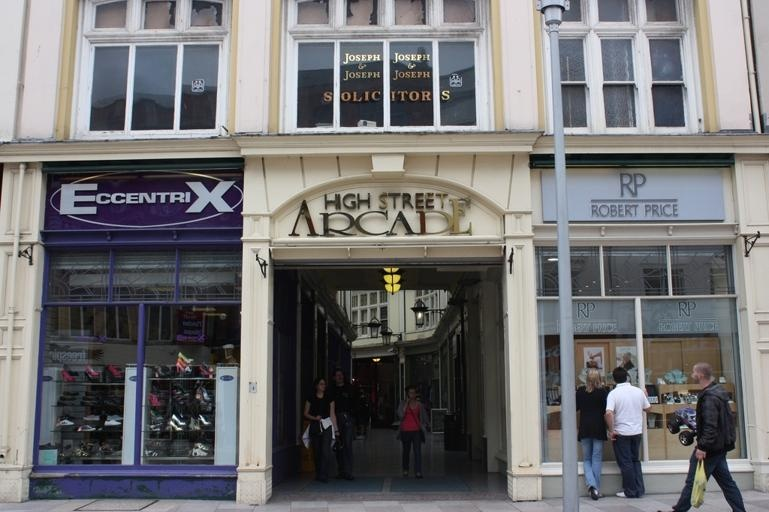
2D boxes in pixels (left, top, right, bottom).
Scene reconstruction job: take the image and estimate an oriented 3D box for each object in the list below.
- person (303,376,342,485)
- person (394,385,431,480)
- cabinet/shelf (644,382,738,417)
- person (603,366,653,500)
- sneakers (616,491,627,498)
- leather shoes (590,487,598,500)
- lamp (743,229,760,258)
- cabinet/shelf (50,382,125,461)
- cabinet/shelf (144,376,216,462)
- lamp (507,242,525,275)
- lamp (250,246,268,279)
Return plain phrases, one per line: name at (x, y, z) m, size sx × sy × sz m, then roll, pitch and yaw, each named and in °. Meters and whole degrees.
person at (-1.512, 4.045, 18.942) m, size 0.741 × 2.310 × 0.659 m, roll -6°, pitch -12°, yaw 23°
person at (0.686, 4.157, 19.318) m, size 0.671 × 2.107 × 0.653 m, roll -2°, pitch -11°, yaw 1°
cabinet/shelf at (6.658, 3.092, 17.323) m, size 1.498 × 0.653 × 0.361 m, roll -5°, pitch -5°, yaw 19°
person at (4.958, 3.626, 16.661) m, size 0.860 × 2.603 × 0.465 m, roll 4°, pitch -12°, yaw -25°
sneakers at (4.848, 4.896, 16.628) m, size 0.163 × 0.065 × 0.069 m, roll 0°, pitch -7°, yaw 16°
leather shoes at (4.251, 4.837, 16.500) m, size 0.090 × 0.087 × 0.244 m, roll 7°, pitch 31°, yaw -24°
lamp at (7.836, -0.252, 17.311) m, size 0.373 × 0.521 × 0.148 m, roll -5°, pitch -11°, yaw 20°
cabinet/shelf at (-6.274, 3.587, 17.252) m, size 1.655 × 1.443 × 0.533 m, roll -1°, pitch -6°, yaw 5°
cabinet/shelf at (-4.297, 3.528, 17.194) m, size 1.648 × 2.049 × 1.076 m, roll 0°, pitch -14°, yaw -2°
lamp at (2.757, 0.064, 17.040) m, size 0.350 × 0.617 × 0.107 m, roll -3°, pitch -11°, yaw 9°
lamp at (-2.598, 0.131, 17.064) m, size 0.319 × 0.623 × 0.137 m, roll 1°, pitch -11°, yaw -14°
